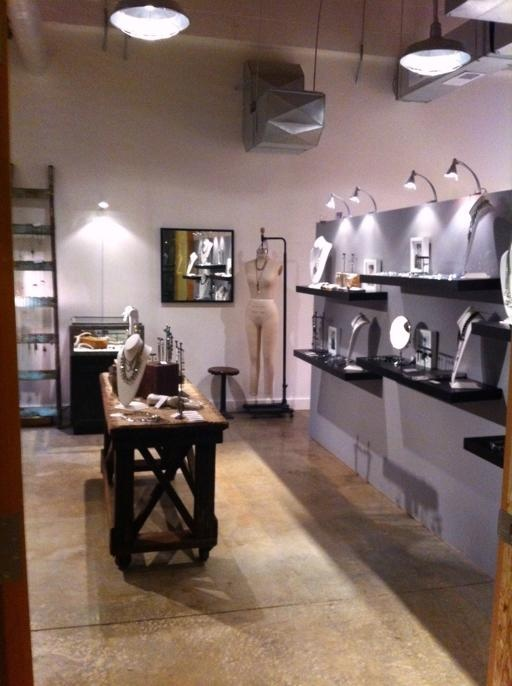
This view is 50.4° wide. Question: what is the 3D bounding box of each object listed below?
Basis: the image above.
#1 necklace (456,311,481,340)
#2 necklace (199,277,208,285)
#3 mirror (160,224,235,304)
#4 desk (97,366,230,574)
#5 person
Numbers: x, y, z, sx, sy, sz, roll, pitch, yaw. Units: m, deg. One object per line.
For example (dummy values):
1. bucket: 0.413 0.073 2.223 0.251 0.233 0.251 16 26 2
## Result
1. necklace: 1.151 -0.119 3.008 0.097 0.175 0.041 -8 13 -10
2. necklace: -0.629 -0.751 6.531 0.064 0.121 0.028 3 6 -12
3. mirror: -0.709 -0.901 6.512 0.848 1.101 0.029 -1 -30 -5
4. desk: -0.638 1.055 3.720 0.525 0.833 1.666 0 -15 -11
5. person: 0.074 -0.251 6.330 0.404 1.767 0.383 1 5 -1
